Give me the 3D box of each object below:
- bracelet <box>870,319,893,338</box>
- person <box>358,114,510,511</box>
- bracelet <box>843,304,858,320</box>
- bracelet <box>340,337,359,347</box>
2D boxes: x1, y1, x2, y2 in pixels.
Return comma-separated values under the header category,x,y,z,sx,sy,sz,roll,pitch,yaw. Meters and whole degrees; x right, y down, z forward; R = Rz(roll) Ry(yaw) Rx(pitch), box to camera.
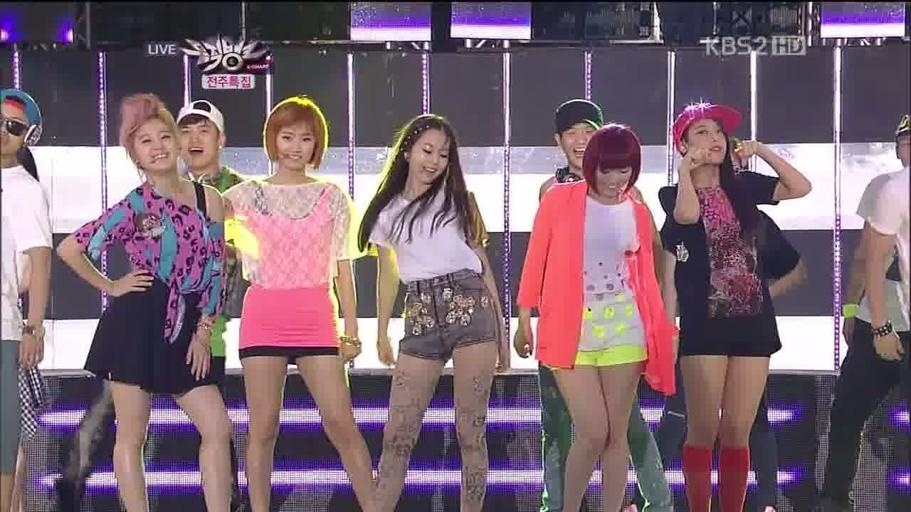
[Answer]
category,x,y,z,sx,sy,sz,roll,pitch,yaw
bracelet,3.307,0.576,7.881,0.129,0.132,0.130,-17,-3,9
person,-0.184,0.446,7.643,0.960,2.912,0.519,0,7,-7
bracelet,3.058,0.444,7.839,0.110,0.102,0.103,-2,-2,26
bracelet,-0.789,0.643,7.672,0.141,0.083,0.030,-1,7,-11
